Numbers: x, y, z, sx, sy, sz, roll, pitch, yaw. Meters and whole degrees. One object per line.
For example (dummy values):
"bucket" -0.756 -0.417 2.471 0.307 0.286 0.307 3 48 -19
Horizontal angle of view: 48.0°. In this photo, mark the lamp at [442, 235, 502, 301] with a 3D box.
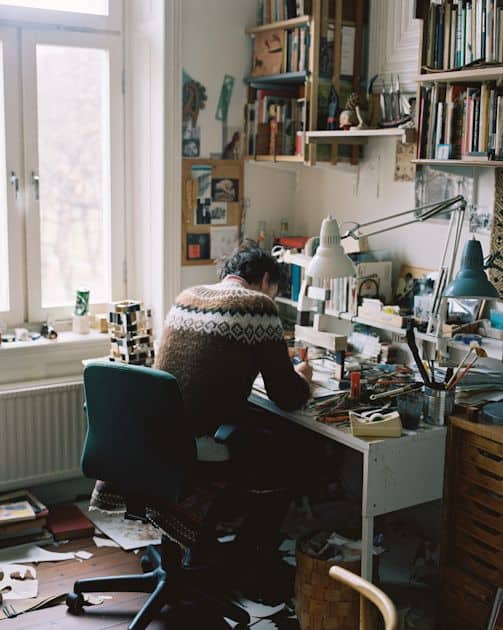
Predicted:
"lamp" 0.620 -0.140 1.568 0.163 0.170 0.155 -3 10 -14

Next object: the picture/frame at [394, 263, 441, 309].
"picture/frame" 0.691 -0.120 2.358 0.043 0.166 0.180 6 10 -34

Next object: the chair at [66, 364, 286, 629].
"chair" -0.266 0.541 1.662 0.446 0.897 0.516 -3 9 -28

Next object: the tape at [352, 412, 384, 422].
"tape" 0.334 0.292 1.616 0.050 0.016 0.055 -2 3 0

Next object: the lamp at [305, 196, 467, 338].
"lamp" 0.469 -0.189 2.069 0.553 0.455 0.939 4 9 19

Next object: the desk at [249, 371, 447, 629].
"desk" 0.314 0.405 1.719 0.352 0.399 0.830 -2 4 -23

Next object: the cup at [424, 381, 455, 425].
"cup" 0.538 0.262 1.689 0.105 0.112 0.103 2 0 0

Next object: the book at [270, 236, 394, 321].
"book" 0.289 -0.181 2.398 0.547 0.295 0.296 -3 8 -29

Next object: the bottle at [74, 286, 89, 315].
"bottle" -0.808 -0.061 2.679 0.062 0.126 0.057 1 8 0
